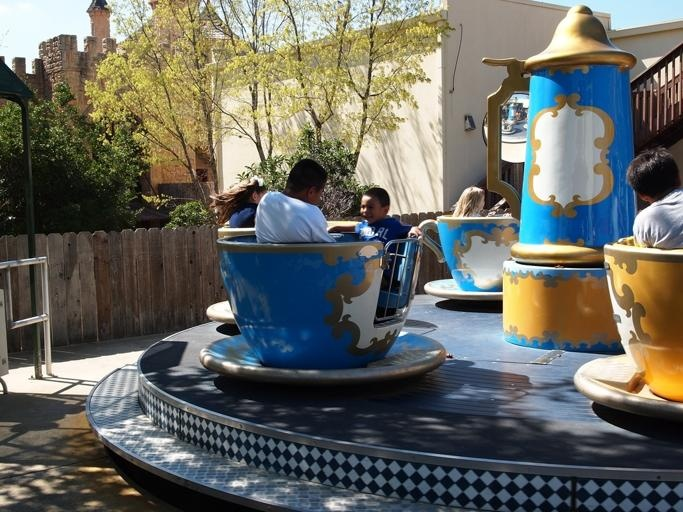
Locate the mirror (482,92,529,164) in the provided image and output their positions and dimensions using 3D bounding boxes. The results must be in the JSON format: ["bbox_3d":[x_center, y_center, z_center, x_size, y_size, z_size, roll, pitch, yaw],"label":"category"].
[{"bbox_3d":[1.369,-1.047,4.749,0.490,0.604,0.213,-1,3,15],"label":"mirror"}]

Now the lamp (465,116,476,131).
[{"bbox_3d":[3.545,-3.686,16.395,0.188,0.397,0.372,7,10,40],"label":"lamp"}]
